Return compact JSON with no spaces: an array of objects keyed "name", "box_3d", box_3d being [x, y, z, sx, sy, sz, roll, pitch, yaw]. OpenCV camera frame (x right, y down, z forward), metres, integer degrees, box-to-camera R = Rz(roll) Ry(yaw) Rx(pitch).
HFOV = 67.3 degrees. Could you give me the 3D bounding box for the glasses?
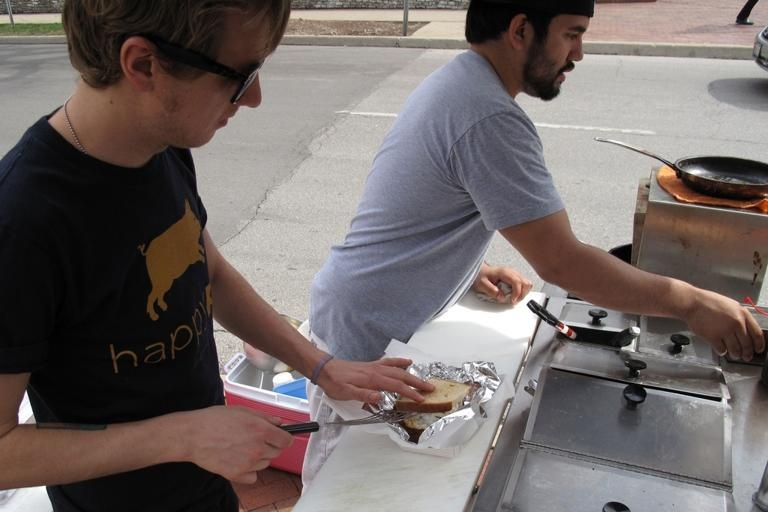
[{"name":"glasses","box_3d":[-0.452,-0.487,1.467,0.177,0.123,0.197,10,22,24]}]
